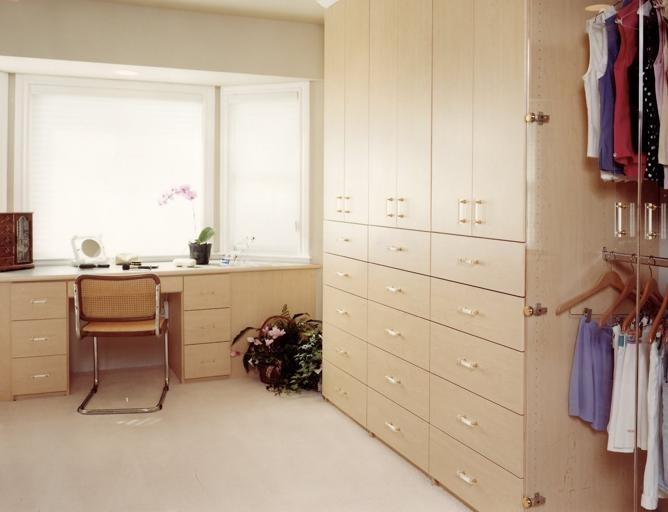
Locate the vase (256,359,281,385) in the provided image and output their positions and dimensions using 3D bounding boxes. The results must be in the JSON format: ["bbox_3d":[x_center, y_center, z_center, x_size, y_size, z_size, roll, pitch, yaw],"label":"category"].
[{"bbox_3d":[-0.502,0.905,4.139,0.169,0.121,0.175,-2,-3,26],"label":"vase"}]

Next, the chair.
[{"bbox_3d":[-1.519,0.570,3.858,0.630,0.988,0.703,-5,7,-19],"label":"chair"}]

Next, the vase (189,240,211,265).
[{"bbox_3d":[-1.079,-0.034,4.407,0.167,0.150,0.163,-1,-1,29],"label":"vase"}]

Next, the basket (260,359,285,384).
[{"bbox_3d":[-0.476,0.901,4.171,0.172,0.130,0.180,-2,-1,23],"label":"basket"}]

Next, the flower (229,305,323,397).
[{"bbox_3d":[-0.436,0.735,4.116,0.610,0.462,0.626,-1,-1,35],"label":"flower"}]

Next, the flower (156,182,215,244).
[{"bbox_3d":[-1.240,-0.347,4.517,0.445,0.505,0.378,-5,7,-13],"label":"flower"}]
